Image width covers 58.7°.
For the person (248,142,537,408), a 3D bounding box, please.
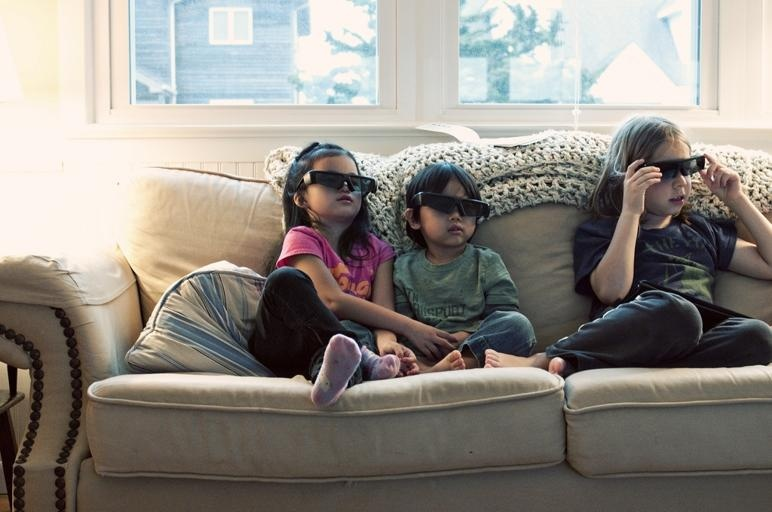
[{"bbox_3d":[-0.086,0.096,2.581,0.804,0.906,0.916,-3,-12,-31],"label":"person"}]
